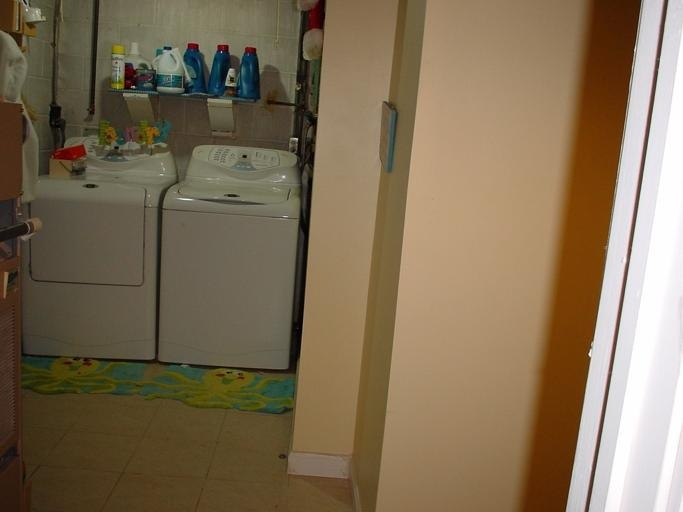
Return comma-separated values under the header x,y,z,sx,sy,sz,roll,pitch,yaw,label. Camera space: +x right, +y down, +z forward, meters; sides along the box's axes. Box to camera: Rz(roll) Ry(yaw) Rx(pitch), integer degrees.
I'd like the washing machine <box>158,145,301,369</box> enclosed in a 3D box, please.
x,y,z,sx,sy,sz,roll,pitch,yaw,label
-0.660,-0.038,3.490,0.905,1.198,1.017,0,15,-22,washing machine

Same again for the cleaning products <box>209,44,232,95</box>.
x,y,z,sx,sy,sz,roll,pitch,yaw,label
-0.774,-1.163,3.548,0.136,0.316,0.091,2,8,-7,cleaning products

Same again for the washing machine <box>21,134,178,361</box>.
x,y,z,sx,sy,sz,roll,pitch,yaw,label
-1.446,-0.098,3.438,0.738,1.173,0.803,4,14,-12,washing machine

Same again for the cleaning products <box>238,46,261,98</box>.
x,y,z,sx,sy,sz,roll,pitch,yaw,label
-0.570,-1.151,3.596,0.112,0.329,0.200,6,9,26,cleaning products

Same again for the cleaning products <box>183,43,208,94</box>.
x,y,z,sx,sy,sz,roll,pitch,yaw,label
-0.909,-1.182,3.586,0.130,0.318,0.181,7,9,28,cleaning products

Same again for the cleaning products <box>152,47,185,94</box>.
x,y,z,sx,sy,sz,roll,pitch,yaw,label
-1.074,-1.146,3.513,0.201,0.279,0.163,2,8,-4,cleaning products

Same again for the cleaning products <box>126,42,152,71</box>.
x,y,z,sx,sy,sz,roll,pitch,yaw,label
-1.283,-1.265,3.578,0.149,0.185,0.181,0,9,-16,cleaning products
